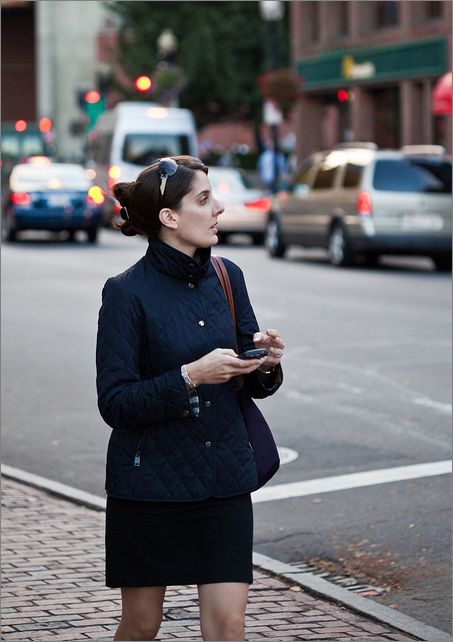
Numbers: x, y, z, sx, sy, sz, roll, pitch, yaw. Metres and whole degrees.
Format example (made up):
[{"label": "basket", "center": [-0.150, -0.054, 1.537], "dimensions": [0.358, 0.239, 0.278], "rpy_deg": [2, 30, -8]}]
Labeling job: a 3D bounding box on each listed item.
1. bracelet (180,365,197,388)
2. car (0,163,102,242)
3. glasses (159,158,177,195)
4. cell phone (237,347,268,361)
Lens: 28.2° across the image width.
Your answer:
[{"label": "bracelet", "center": [-0.086, 0.123, 1.928], "dimensions": [0.039, 0.050, 0.020], "rpy_deg": [4, 9, 42]}, {"label": "car", "center": [-4.841, -3.114, 24.499], "dimensions": [2.876, 1.978, 5.835], "rpy_deg": [-1, 6, -13]}, {"label": "glasses", "center": [-0.135, -0.329, 2.065], "dimensions": [0.030, 0.072, 0.061], "rpy_deg": [7, 18, 19]}, {"label": "cell phone", "center": [0.068, 0.068, 1.941], "dimensions": [0.054, 0.024, 0.126], "rpy_deg": [0, 6, 14]}]
